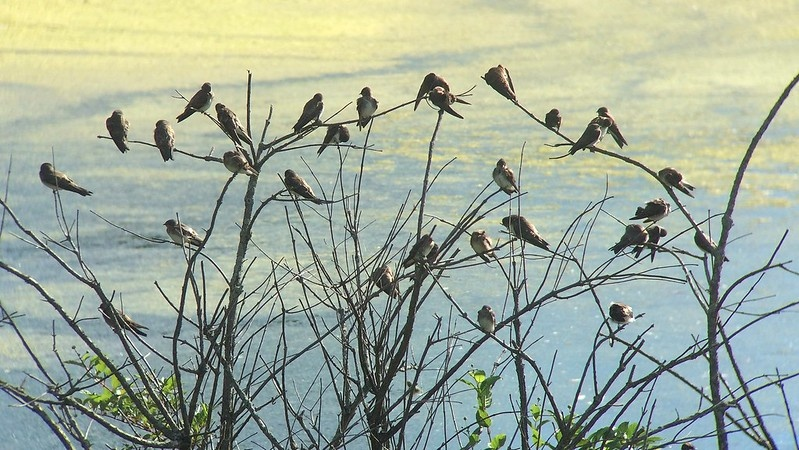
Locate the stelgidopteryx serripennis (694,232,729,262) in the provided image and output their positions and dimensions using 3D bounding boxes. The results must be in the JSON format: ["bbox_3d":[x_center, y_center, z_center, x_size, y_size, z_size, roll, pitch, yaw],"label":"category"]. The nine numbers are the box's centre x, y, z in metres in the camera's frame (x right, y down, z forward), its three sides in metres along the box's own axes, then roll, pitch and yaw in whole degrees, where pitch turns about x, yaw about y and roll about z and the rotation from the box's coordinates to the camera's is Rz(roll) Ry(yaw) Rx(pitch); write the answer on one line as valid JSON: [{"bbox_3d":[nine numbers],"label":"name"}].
[{"bbox_3d":[5.138,0.336,26.013,0.269,0.185,0.599,38,9,-43],"label":"stelgidopteryx serripennis"}]

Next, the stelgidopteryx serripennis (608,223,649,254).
[{"bbox_3d":[4.381,0.252,30.163,0.594,0.312,0.584,-23,5,39],"label":"stelgidopteryx serripennis"}]

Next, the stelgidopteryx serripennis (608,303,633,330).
[{"bbox_3d":[4.081,1.618,29.059,0.336,0.351,0.590,1,-3,6],"label":"stelgidopteryx serripennis"}]
